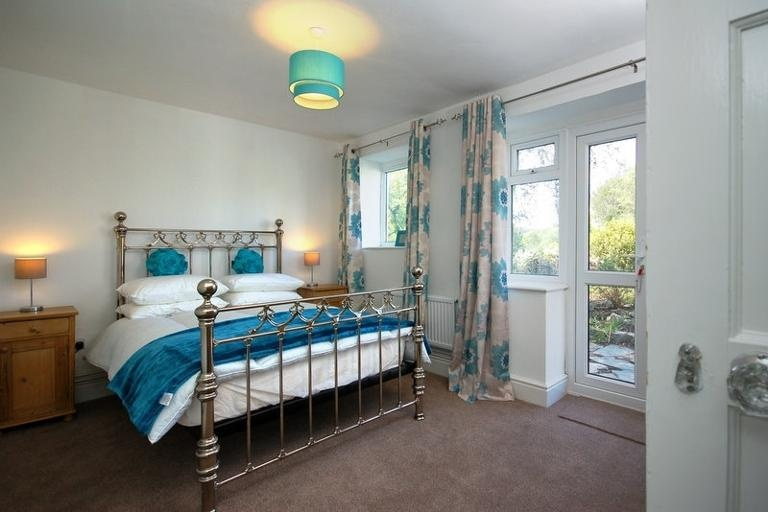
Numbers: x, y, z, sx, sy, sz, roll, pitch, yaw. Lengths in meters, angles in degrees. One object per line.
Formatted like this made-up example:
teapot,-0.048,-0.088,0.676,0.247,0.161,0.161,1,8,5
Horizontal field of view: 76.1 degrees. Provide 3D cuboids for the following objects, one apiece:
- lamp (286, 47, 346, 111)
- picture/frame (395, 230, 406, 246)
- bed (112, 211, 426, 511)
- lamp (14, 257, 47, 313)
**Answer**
lamp,-0.540,-1.318,3.753,0.414,0.307,0.421,-1,-1,35
picture/frame,0.193,-0.206,5.589,0.037,0.160,0.149,8,0,-43
bed,-1.271,0.690,4.360,1.969,1.640,2.455,-1,-1,-37
lamp,-2.935,0.226,4.094,0.214,0.440,0.285,-1,2,-35
